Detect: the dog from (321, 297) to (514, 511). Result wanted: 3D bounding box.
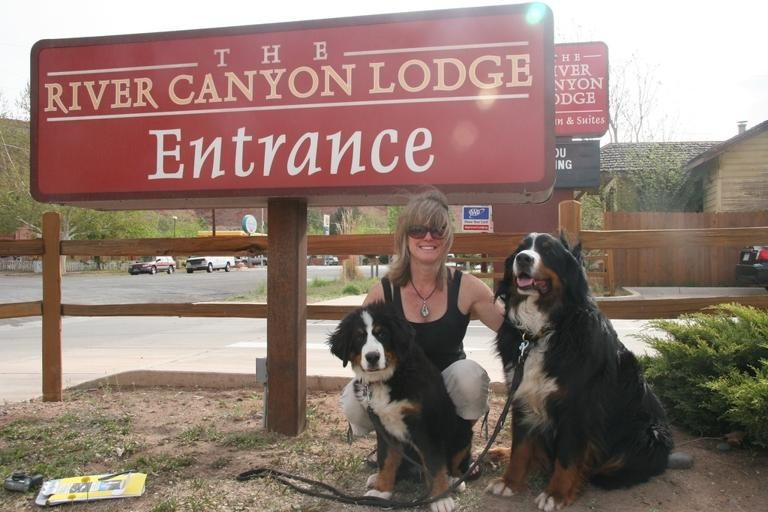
[{"bbox_3d":[0.172,1.394,6.457,1.312,1.841,0.587,2,10,7],"label":"dog"}]

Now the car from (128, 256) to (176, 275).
[{"bbox_3d":[-14.640,0.755,42.985,1.232,1.249,4.182,2,10,9],"label":"car"}]

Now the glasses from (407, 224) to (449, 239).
[{"bbox_3d":[0.438,-0.230,6.770,0.397,0.124,0.076,1,10,4],"label":"glasses"}]

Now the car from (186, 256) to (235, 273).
[{"bbox_3d":[-10.628,0.556,41.184,0.921,0.761,2.225,0,4,19],"label":"car"}]
